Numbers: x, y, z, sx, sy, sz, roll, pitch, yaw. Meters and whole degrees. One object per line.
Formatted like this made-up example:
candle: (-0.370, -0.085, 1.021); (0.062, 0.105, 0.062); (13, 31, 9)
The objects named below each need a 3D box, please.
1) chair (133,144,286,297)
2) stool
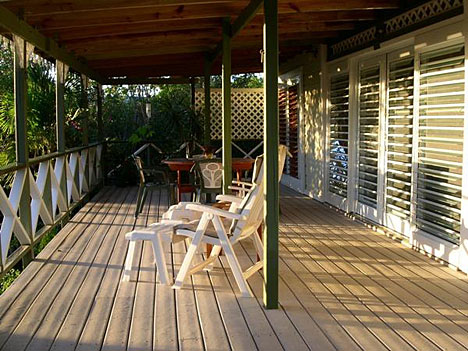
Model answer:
chair: (-0.208, 0.354, 3.899); (1.449, 1.486, 1.131); (2, 2, 8)
stool: (-0.786, 0.627, 3.681); (0.457, 0.520, 0.753); (0, 2, 4)
